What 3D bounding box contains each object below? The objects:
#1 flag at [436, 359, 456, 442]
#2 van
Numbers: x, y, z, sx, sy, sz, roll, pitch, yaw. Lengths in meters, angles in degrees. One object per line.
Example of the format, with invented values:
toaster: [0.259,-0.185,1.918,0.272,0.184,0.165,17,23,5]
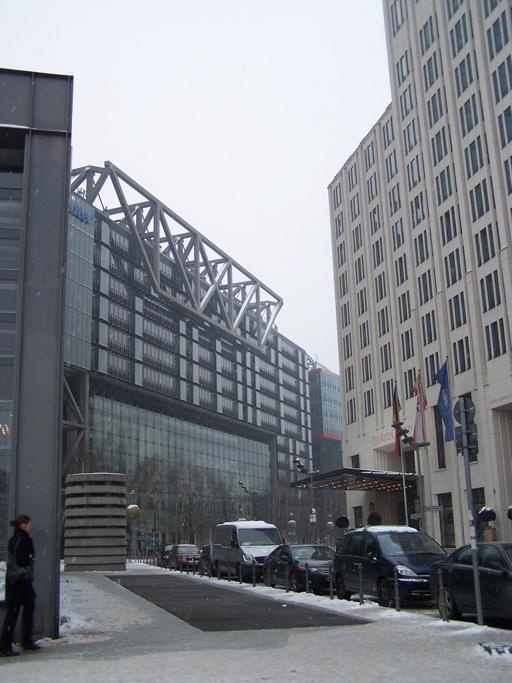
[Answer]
flag: [11.901,3.507,37.911,0.829,5.169,3.331,-7,-17,17]
van: [-0.248,8.363,23.764,1.688,1.905,3.823,5,-29,-15]
